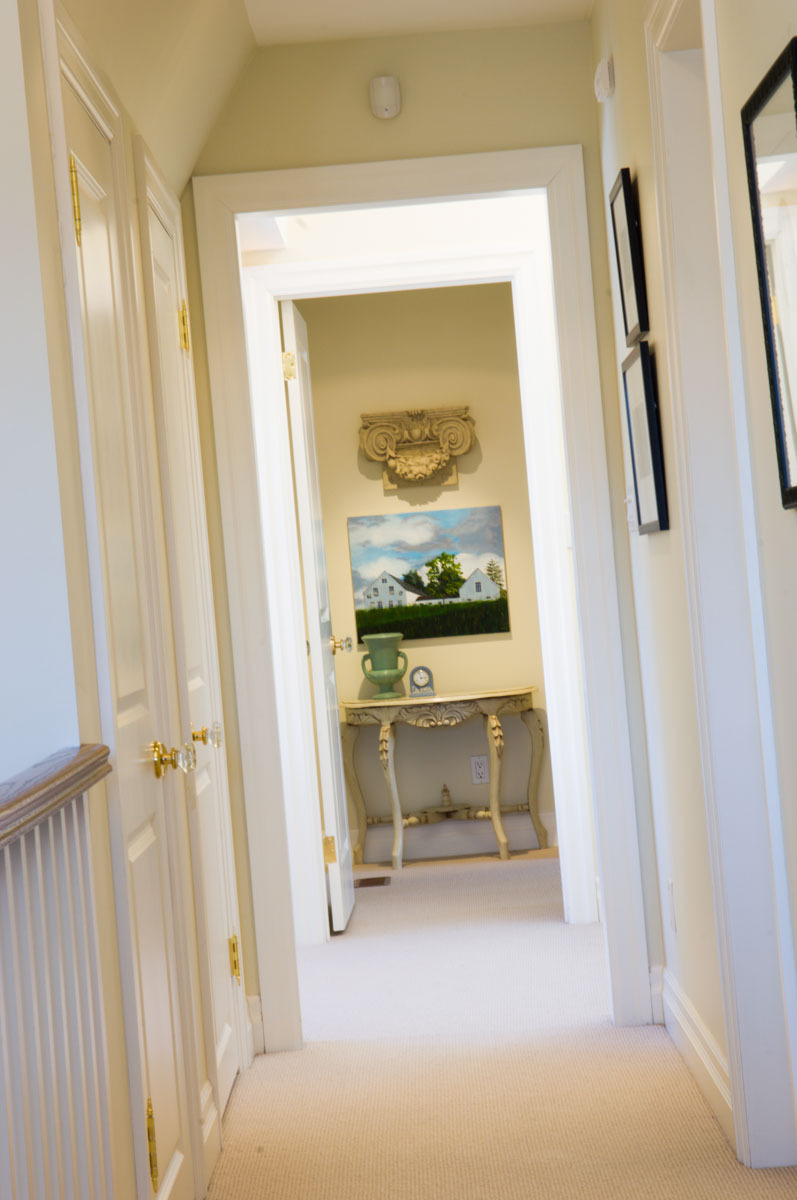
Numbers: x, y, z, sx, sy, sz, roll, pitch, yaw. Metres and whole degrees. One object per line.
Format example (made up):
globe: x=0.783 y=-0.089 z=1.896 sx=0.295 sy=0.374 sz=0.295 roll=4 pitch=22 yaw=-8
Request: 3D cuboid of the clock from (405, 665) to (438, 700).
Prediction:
clock: x=0.116 y=0.438 z=4.638 sx=0.128 sy=0.193 sz=0.039 roll=0 pitch=-8 yaw=-2

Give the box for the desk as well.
desk: x=0.247 y=0.943 z=4.617 sx=0.967 sy=0.988 sz=0.477 roll=-5 pitch=3 yaw=5
